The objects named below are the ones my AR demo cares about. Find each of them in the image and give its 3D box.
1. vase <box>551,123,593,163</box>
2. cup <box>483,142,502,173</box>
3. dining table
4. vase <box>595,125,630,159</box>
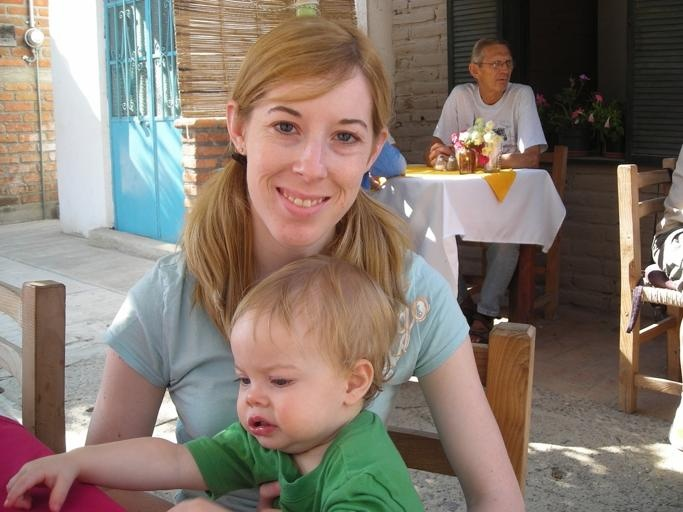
[{"bbox_3d":[2.206,-1.066,5.082,0.297,0.230,0.304,-5,12,-5],"label":"vase"},{"bbox_3d":[1.048,-0.674,3.772,0.086,0.230,0.076,4,6,18],"label":"cup"},{"bbox_3d":[0.850,-0.133,4.128,1.499,0.729,1.646,-8,0,12],"label":"dining table"},{"bbox_3d":[2.364,-0.996,4.810,0.260,0.256,0.254,-2,0,4],"label":"vase"}]
